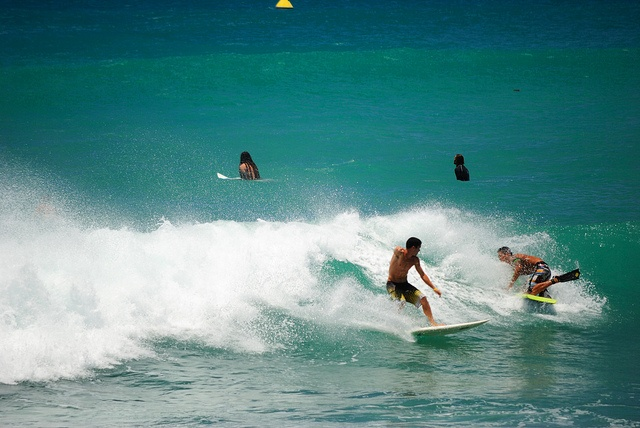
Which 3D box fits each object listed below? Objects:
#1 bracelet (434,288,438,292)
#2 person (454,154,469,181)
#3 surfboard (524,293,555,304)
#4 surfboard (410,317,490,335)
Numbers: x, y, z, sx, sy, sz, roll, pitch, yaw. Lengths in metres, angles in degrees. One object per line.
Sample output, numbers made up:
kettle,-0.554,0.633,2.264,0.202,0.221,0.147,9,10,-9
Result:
bracelet,3.491,2.303,27.663,0.113,0.114,0.031,36,81,11
person,5.286,-1.754,34.620,0.548,1.199,0.975,-8,41,8
surfboard,6.890,2.696,28.942,1.367,0.171,0.270,3,85,3
surfboard,3.888,3.469,28.050,2.302,0.306,0.152,-7,41,3
